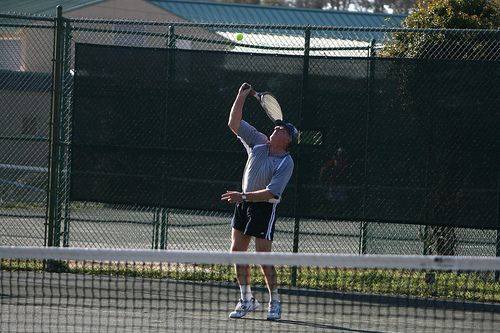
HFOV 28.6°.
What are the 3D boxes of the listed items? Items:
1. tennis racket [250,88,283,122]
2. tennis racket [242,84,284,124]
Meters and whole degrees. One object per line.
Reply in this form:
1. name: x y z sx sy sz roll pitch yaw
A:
1. tennis racket: 0.249 -0.948 14.918 0.322 0.610 0.423 -5 10 -34
2. tennis racket: 0.272 -0.965 15.115 0.586 0.484 0.909 5 2 18
